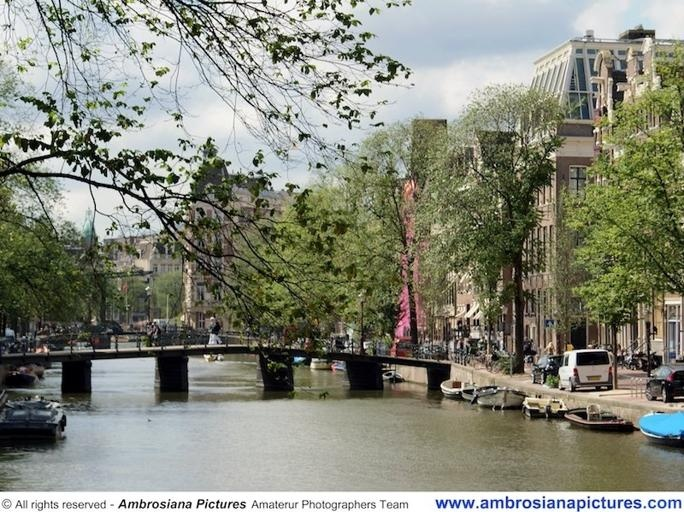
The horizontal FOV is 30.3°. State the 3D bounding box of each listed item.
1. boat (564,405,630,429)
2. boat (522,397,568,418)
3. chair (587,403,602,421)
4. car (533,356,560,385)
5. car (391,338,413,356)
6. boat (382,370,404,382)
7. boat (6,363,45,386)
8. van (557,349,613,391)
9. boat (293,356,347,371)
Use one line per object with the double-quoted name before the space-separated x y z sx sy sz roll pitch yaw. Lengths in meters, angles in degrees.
"boat" 11.597 7.328 56.787 1.493 1.133 4.643 1 -6 -10
"boat" 9.967 7.556 62.245 1.396 0.963 2.799 3 -7 -31
"chair" 11.380 7.149 57.097 0.572 0.846 0.602 -3 -1 9
"car" 10.998 6.163 68.138 1.462 1.551 5.471 -1 -6 8
"car" 3.884 6.061 83.072 0.856 1.298 2.307 1 -6 -18
"boat" 3.892 9.304 96.160 1.307 0.780 2.428 2 -6 -22
"boat" -22.270 8.684 89.028 1.292 0.942 4.829 6 2 1
"van" 11.877 5.629 62.614 1.507 1.360 2.701 -1 0 -1
"boat" -1.909 9.902 112.891 3.927 1.101 19.189 0 -6 0
